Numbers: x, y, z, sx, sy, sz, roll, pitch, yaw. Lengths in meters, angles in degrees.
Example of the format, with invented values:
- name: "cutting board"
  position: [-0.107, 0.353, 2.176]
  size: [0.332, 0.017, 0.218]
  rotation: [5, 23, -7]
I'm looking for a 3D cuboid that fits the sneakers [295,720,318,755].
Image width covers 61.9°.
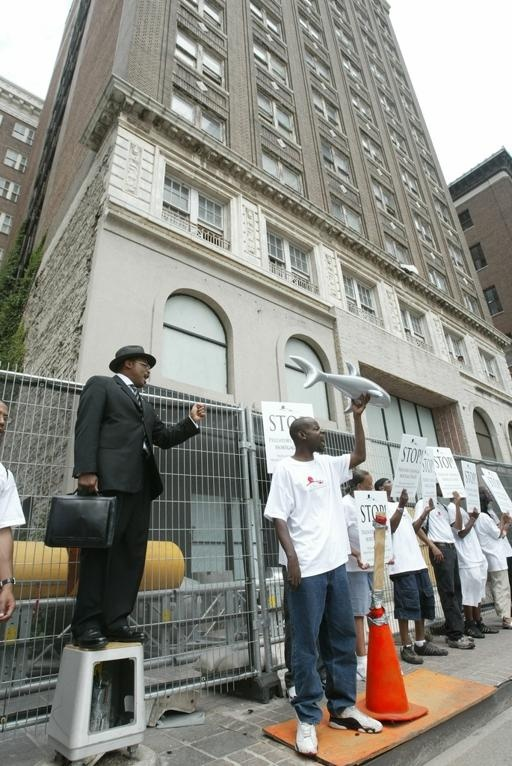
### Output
- name: "sneakers"
  position: [0.255, 1.772, 2.163]
  size: [0.105, 0.116, 0.147]
  rotation: [-4, -21, 0]

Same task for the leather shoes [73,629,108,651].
- name: "leather shoes"
  position: [-0.781, 1.199, 2.042]
  size: [0.103, 0.080, 0.160]
  rotation: [13, -27, -39]

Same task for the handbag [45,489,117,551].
- name: "handbag"
  position: [-0.853, 0.670, 2.138]
  size: [0.332, 0.358, 0.197]
  rotation: [7, -38, -10]

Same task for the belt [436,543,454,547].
- name: "belt"
  position: [2.510, 2.097, 5.666]
  size: [0.105, 0.027, 0.111]
  rotation: [4, -8, -20]

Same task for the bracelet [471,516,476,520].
- name: "bracelet"
  position: [3.103, 1.883, 6.103]
  size: [0.050, 0.051, 0.051]
  rotation: [1, -1, -29]

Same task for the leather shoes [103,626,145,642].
- name: "leather shoes"
  position: [-0.695, 1.317, 2.281]
  size: [0.191, 0.088, 0.140]
  rotation: [7, -24, -27]

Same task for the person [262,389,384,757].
- name: "person"
  position: [0.423, 1.028, 2.711]
  size: [0.733, 1.935, 0.429]
  rotation: [6, -22, -24]

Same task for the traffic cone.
- name: "traffic cone"
  position: [0.822, 1.747, 2.717]
  size: [0.400, 0.550, 0.394]
  rotation: [-15, -25, 31]

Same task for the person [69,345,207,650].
- name: "person"
  position: [-0.800, 0.519, 2.675]
  size: [0.467, 1.872, 0.818]
  rotation: [-15, -23, 27]

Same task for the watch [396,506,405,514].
- name: "watch"
  position: [1.489, 1.269, 4.408]
  size: [0.061, 0.048, 0.084]
  rotation: [8, -40, -12]

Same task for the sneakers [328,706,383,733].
- name: "sneakers"
  position: [0.565, 1.871, 2.472]
  size: [0.317, 0.154, 0.110]
  rotation: [-8, -27, 23]
